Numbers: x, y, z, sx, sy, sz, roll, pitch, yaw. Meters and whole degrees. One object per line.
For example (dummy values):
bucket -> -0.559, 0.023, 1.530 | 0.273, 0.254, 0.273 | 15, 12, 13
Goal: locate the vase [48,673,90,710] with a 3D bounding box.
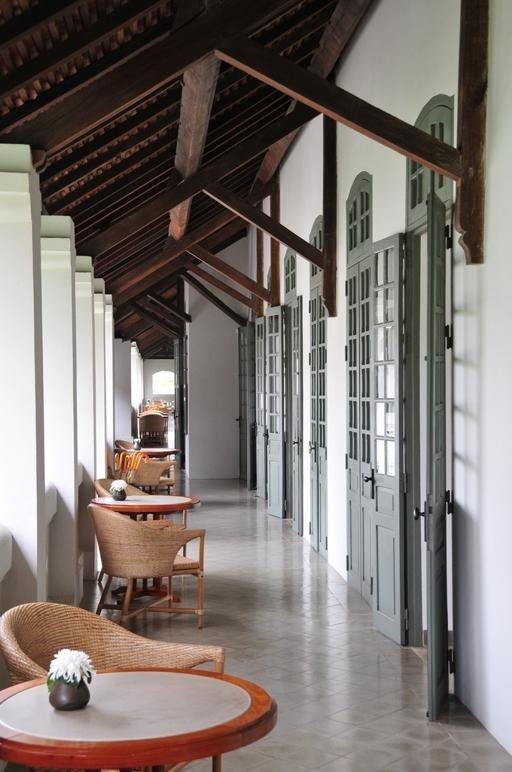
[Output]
vase -> -0.398, 0.654, 1.412 | 0.073, 0.074, 0.076 | 0, 1, -6

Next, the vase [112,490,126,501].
vase -> -1.092, 0.873, 5.366 | 0.084, 0.082, 0.088 | -4, 10, -12

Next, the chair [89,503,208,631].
chair -> -0.768, 1.222, 4.791 | 0.886, 1.045, 0.798 | 0, 0, -21
